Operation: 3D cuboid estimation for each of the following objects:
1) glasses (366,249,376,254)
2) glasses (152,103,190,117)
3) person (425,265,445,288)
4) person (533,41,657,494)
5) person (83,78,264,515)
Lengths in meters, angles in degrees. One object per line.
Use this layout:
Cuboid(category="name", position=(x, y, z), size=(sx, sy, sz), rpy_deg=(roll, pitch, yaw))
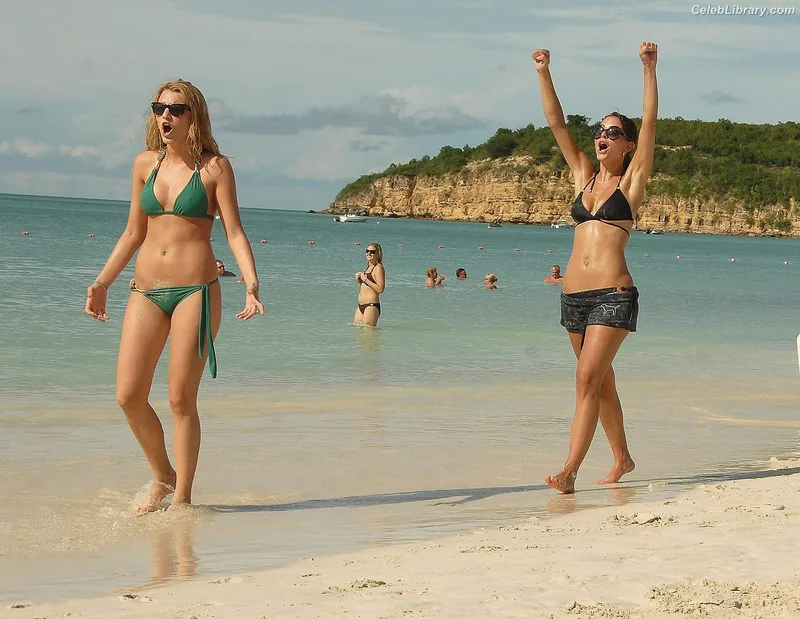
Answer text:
Cuboid(category="glasses", position=(-0.487, -0.924, 18.002), size=(0.139, 0.065, 0.161), rpy_deg=(-1, 4, 5))
Cuboid(category="glasses", position=(-1.554, -1.331, 7.496), size=(0.274, 0.107, 0.102), rpy_deg=(0, 4, 11))
Cuboid(category="person", position=(0.883, -0.844, 30.609), size=(0.409, 0.518, 1.088), rpy_deg=(-1, 4, -1))
Cuboid(category="person", position=(1.417, -0.284, 8.025), size=(0.863, 3.233, 0.964), rpy_deg=(-1, 4, 8))
Cuboid(category="person", position=(-1.528, -0.095, 7.523), size=(1.192, 2.854, 0.703), rpy_deg=(-1, 4, 2))
